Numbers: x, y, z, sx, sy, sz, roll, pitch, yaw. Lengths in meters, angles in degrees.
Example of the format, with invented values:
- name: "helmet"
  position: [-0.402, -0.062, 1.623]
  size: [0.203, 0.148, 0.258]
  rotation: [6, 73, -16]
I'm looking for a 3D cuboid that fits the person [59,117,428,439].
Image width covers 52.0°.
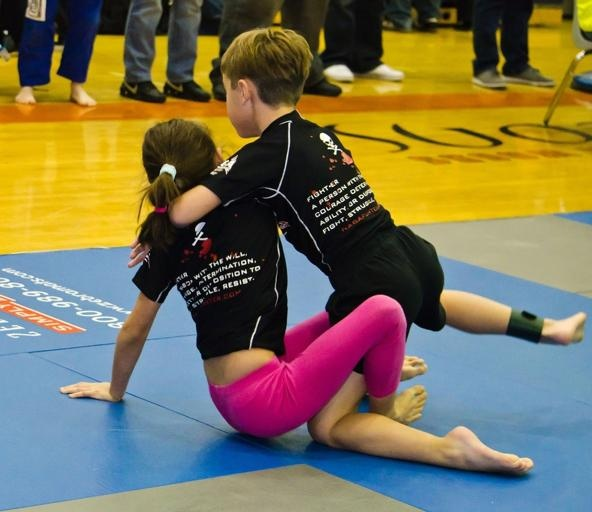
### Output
- name: "person"
  position: [-0.098, 0.045, 1.409]
  size: [0.891, 0.694, 0.507]
  rotation: [0, 5, 11]

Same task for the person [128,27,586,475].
- name: "person"
  position: [0.103, -0.121, 1.635]
  size: [1.132, 1.060, 0.775]
  rotation: [5, 13, 23]
